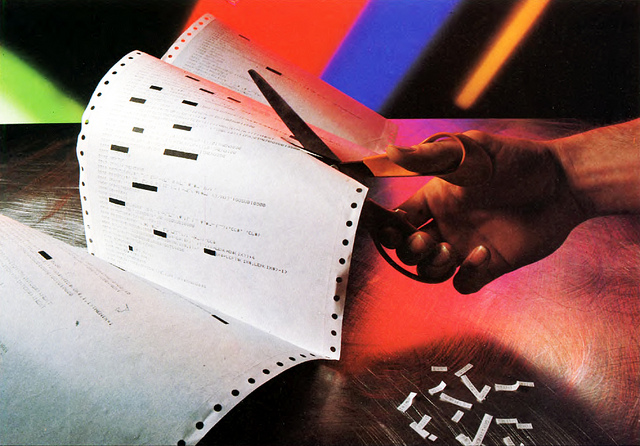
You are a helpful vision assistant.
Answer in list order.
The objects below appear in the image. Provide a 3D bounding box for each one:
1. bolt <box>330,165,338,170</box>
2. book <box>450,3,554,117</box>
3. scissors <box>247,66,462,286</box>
[{"bbox_3d":[0.026,-0.101,1.005,0.008,0.008,0.002,40,109,44],"label":"bolt"},{"bbox_3d":[0.375,-0.327,1.111,0.032,0.049,0.258,28,96,-20],"label":"book"},{"bbox_3d":[0.106,-0.098,1.066,0.588,0.193,0.050,50,40,5],"label":"scissors"}]
